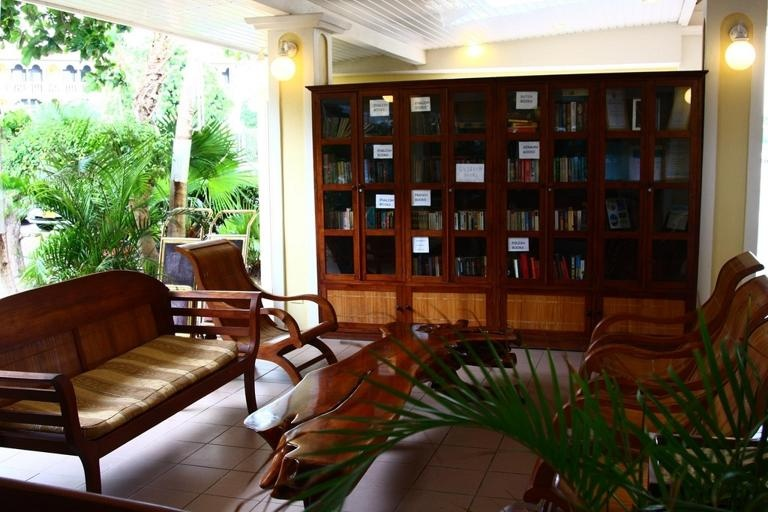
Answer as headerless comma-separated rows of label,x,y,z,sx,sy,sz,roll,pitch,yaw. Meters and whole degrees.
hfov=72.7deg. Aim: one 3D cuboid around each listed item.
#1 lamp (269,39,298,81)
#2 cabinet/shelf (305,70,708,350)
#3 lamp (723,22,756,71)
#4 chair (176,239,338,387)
lamp,-1.093,-2.133,5.631,0.301,0.427,0.266,-3,9,-1
cabinet/shelf,1.346,-0.502,5.234,3.021,2.062,0.586,1,3,12
lamp,3.371,-2.004,4.934,0.237,0.446,0.271,4,11,34
chair,-1.206,0.433,4.765,1.596,1.366,1.035,7,12,20
